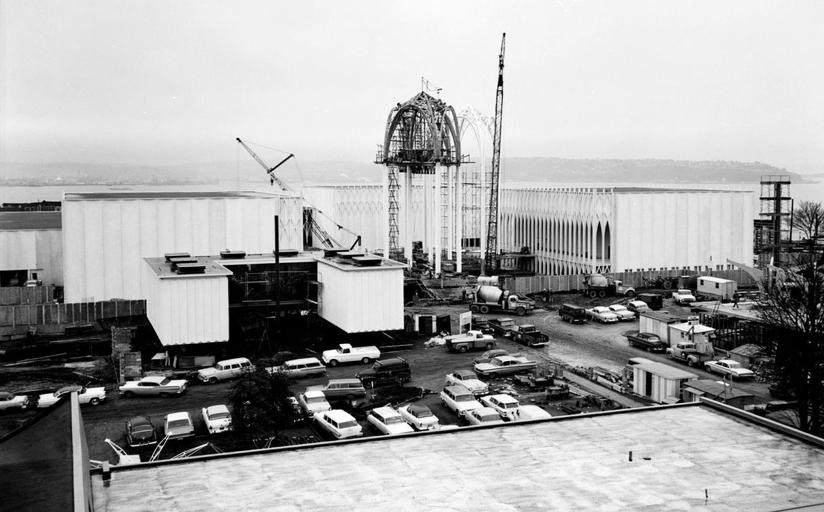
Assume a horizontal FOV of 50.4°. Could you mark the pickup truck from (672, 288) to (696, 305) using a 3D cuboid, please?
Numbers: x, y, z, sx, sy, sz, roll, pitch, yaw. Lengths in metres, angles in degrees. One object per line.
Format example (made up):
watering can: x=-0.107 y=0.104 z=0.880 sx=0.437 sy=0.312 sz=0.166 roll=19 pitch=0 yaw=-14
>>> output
pickup truck: x=17.516 y=2.715 z=55.912 sx=1.041 sy=0.796 sz=1.842 roll=1 pitch=13 yaw=1

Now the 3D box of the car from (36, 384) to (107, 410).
car: x=-14.401 y=5.809 z=37.144 sx=2.610 sy=1.034 sz=2.128 roll=-4 pitch=14 yaw=-18

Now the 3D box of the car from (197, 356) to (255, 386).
car: x=-8.723 y=5.260 z=40.484 sx=2.933 sy=0.810 sz=1.380 roll=-5 pitch=7 yaw=-28

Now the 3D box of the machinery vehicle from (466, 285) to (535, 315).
machinery vehicle: x=5.630 y=2.781 z=54.905 sx=4.420 sy=1.929 sz=1.661 roll=3 pitch=9 yaw=18

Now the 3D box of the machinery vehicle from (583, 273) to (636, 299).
machinery vehicle: x=13.227 y=1.976 z=59.548 sx=3.901 sy=1.658 sz=1.444 roll=-2 pitch=8 yaw=-10

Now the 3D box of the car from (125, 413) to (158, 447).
car: x=-10.555 y=6.617 z=34.053 sx=1.199 sy=0.773 sz=2.627 roll=-7 pitch=15 yaw=-24

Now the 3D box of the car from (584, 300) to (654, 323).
car: x=12.496 y=3.358 z=51.989 sx=2.644 sy=0.675 sz=1.638 roll=-3 pitch=2 yaw=-32

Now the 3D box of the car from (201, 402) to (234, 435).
car: x=-7.610 y=6.422 z=34.397 sx=0.965 sy=0.749 sz=1.502 roll=-5 pitch=14 yaw=-20
